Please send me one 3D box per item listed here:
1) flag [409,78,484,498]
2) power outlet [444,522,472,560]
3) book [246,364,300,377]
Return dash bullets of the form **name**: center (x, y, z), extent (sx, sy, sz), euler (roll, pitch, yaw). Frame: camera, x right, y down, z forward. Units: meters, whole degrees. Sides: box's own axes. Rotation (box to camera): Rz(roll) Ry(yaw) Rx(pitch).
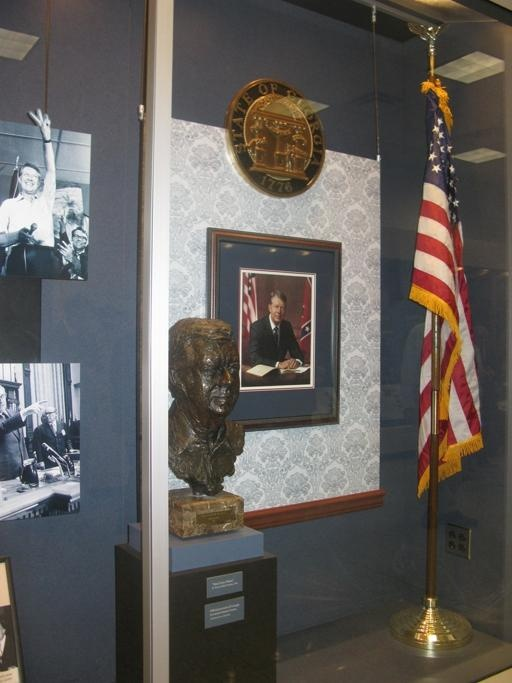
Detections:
- **flag**: center (0.533, -0.153, 1.929), extent (0.296, 1.158, 0.067), euler (-3, 2, -44)
- **power outlet**: center (0.578, 0.573, 1.972), extent (0.115, 0.115, 0.012), euler (3, -2, -36)
- **book**: center (0.042, 0.070, 1.672), extent (0.140, 0.030, 0.010), euler (-2, 2, -19)
